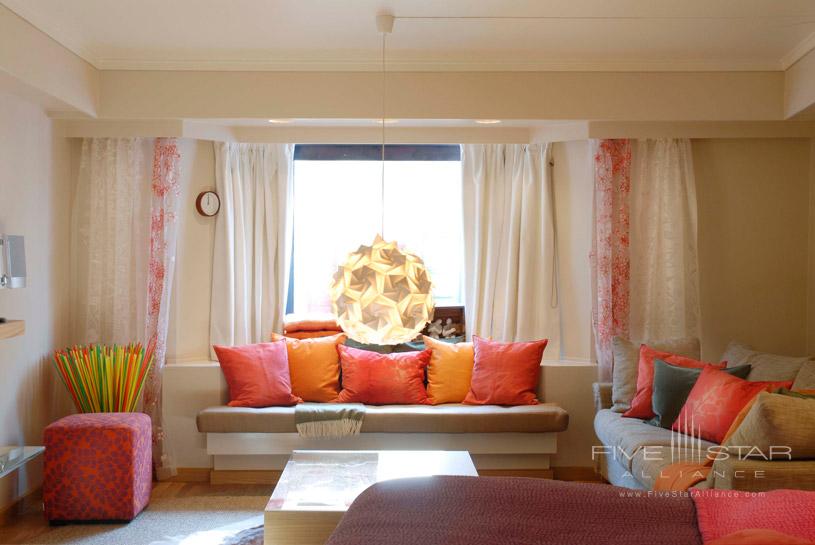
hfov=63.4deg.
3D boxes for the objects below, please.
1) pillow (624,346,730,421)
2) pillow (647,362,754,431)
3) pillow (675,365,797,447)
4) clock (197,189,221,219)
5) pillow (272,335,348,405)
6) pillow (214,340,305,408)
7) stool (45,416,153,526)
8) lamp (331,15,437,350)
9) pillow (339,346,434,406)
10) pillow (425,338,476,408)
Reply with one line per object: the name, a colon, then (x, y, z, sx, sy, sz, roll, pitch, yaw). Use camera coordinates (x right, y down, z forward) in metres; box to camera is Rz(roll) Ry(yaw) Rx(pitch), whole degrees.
pillow: (1.761, 0.815, 4.689, 0.534, 0.525, 0.162, 10, 2, 27)
pillow: (1.912, 0.857, 4.612, 0.496, 0.493, 0.199, -14, -47, 43)
pillow: (2.027, 0.864, 4.359, 0.522, 0.500, 0.184, 25, 13, -17)
clock: (-1.651, -0.560, 5.487, 0.235, 0.252, 0.090, 5, -3, -27)
pillow: (-0.783, 0.810, 5.402, 0.586, 0.558, 0.222, 0, 8, 5)
pillow: (-1.173, 0.838, 5.244, 0.579, 0.494, 0.297, -2, -1, -36)
stool: (-2.103, 1.398, 4.774, 0.686, 0.649, 0.675, 1, -3, -6)
lamp: (-0.126, -0.588, 4.196, 0.568, 1.962, 1.429, -1, 2, 2)
pillow: (-0.177, 0.860, 5.331, 0.726, 0.452, 0.258, 2, 1, 1)
pillow: (0.344, 0.835, 5.307, 0.506, 0.496, 0.179, 0, -25, -2)
